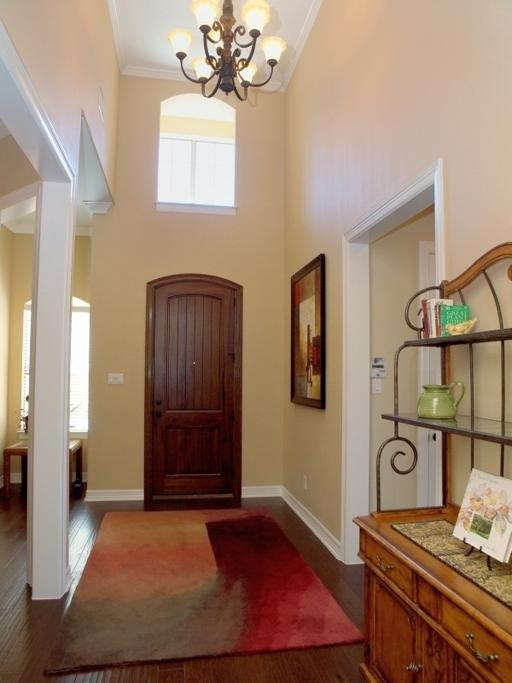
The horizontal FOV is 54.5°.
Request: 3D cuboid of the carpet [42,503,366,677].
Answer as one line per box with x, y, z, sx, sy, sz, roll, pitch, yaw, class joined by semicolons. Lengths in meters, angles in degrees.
-0.358;1.424;3.118;1.436;0.034;2.112;2;-4;-13;carpet
